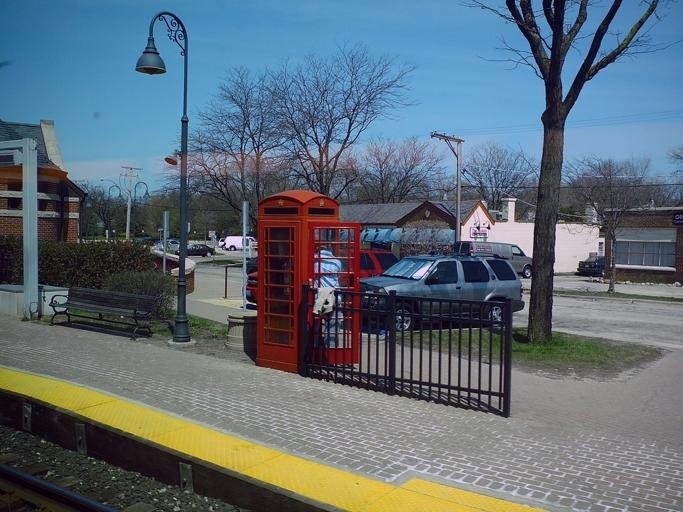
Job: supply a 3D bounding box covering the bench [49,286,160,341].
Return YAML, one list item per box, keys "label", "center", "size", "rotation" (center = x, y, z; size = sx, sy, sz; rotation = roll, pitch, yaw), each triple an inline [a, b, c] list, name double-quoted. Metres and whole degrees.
- label: "bench"
  center: [-5.469, 1.229, 14.243]
  size: [2.609, 0.744, 0.693]
  rotation: [3, 7, 26]

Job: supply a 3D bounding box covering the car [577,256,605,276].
- label: "car"
  center: [18.765, 0.798, 47.537]
  size: [1.642, 1.478, 2.060]
  rotation: [4, 4, 14]

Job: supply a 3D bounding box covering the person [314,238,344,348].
- label: "person"
  center: [-0.239, 0.742, 10.910]
  size: [0.567, 1.809, 1.115]
  rotation: [3, 4, -1]
